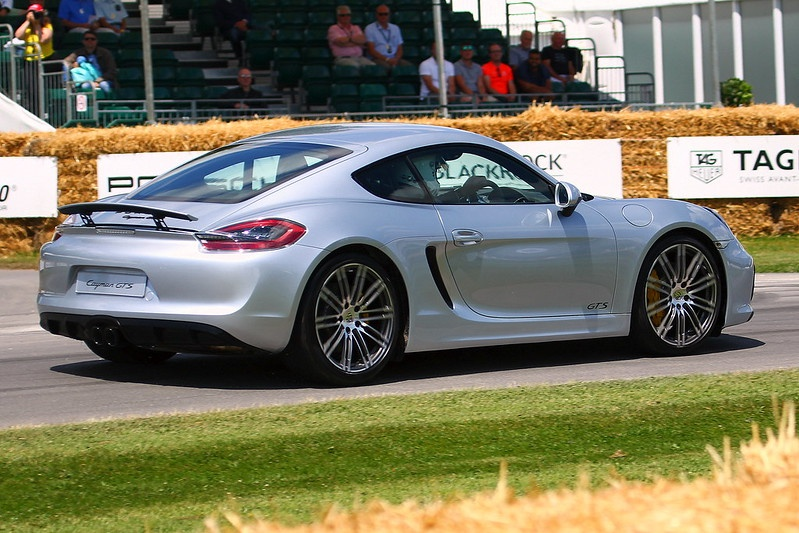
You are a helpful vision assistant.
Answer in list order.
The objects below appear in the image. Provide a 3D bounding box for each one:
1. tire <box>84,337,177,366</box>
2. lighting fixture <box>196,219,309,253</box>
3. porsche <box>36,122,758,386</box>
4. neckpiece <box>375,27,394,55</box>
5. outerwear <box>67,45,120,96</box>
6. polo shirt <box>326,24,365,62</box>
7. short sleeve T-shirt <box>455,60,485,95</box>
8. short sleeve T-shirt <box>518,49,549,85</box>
[{"bbox_3d":[-2.132,0.668,6.897,0.512,0.296,0.165,10,5,-10],"label":"tire"},{"bbox_3d":[-1.020,-0.227,6.080,0.603,0.100,0.306,1,-3,-41],"label":"lighting fixture"},{"bbox_3d":[0.265,-0.162,7.374,5.550,1.069,2.503,-2,2,-29],"label":"porsche"},{"bbox_3d":[-0.304,-5.825,22.337,0.671,0.591,0.231,-7,-4,-10],"label":"neckpiece"},{"bbox_3d":[-6.994,-4.474,19.681,1.018,1.178,1.015,-5,7,-8],"label":"outerwear"},{"bbox_3d":[-1.314,-5.713,22.217,0.920,1.119,0.961,-4,7,-1],"label":"polo shirt"},{"bbox_3d":[1.761,-4.668,21.228,0.701,0.865,0.817,-4,7,4],"label":"short sleeve T-shirt"},{"bbox_3d":[3.463,-5.033,21.877,1.084,0.611,0.471,5,24,7],"label":"short sleeve T-shirt"}]
